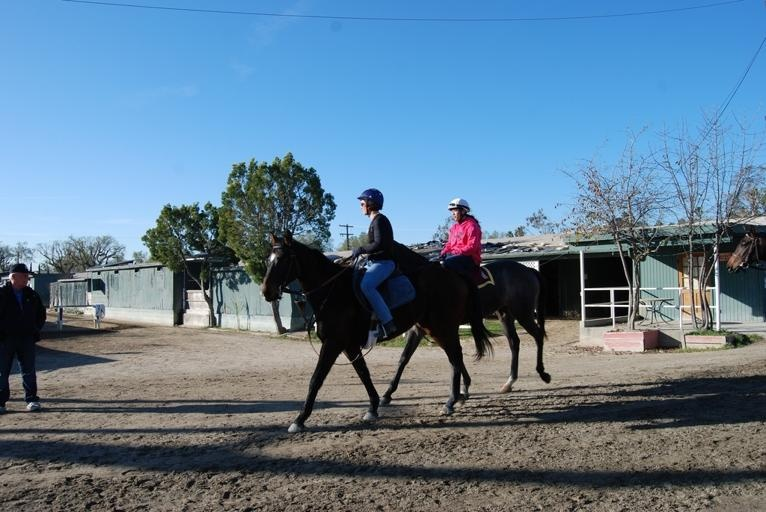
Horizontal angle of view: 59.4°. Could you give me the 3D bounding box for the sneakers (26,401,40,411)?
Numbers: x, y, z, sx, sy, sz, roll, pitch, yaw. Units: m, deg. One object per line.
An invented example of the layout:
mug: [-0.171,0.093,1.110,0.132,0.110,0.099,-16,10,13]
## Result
sneakers: [-6.280,2.704,12.091,0.110,0.130,0.286,1,-2,16]

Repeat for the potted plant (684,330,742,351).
potted plant: [8.553,2.199,17.414,1.315,0.390,0.920,-3,-3,26]

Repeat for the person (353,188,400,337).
person: [-0.141,0.189,11.038,0.706,2.586,0.579,-1,-2,0]

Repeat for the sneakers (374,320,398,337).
sneakers: [0.052,1.173,10.850,0.305,0.254,0.238,-6,-4,-7]

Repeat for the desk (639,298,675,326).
desk: [9.014,1.770,21.968,1.173,0.981,1.151,2,-6,-31]
